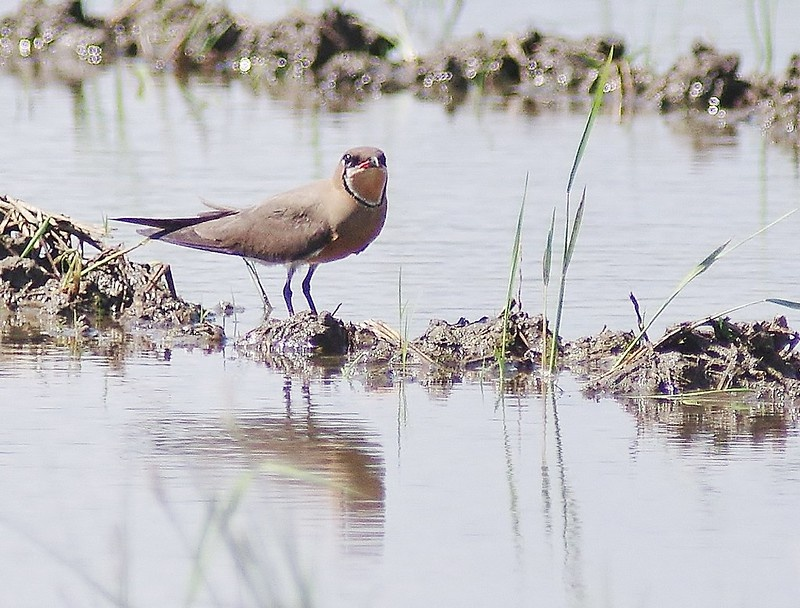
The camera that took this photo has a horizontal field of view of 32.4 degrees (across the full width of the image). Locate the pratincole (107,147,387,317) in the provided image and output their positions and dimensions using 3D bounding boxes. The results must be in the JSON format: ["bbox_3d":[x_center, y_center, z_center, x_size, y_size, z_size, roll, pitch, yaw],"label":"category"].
[{"bbox_3d":[-1.077,-0.553,10.971,2.497,1.420,0.739,4,6,27],"label":"pratincole"}]
